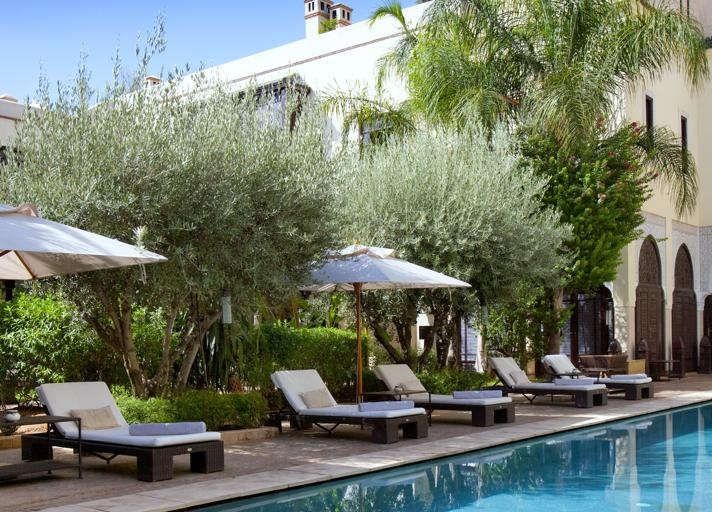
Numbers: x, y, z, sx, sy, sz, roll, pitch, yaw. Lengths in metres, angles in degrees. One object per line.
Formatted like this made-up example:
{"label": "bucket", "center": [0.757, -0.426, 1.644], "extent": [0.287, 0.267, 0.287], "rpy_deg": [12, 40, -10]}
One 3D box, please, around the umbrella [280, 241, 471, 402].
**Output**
{"label": "umbrella", "center": [0.078, 1.270, 13.870], "extent": [3.061, 2.256, 2.952], "rpy_deg": [1, -5, -32]}

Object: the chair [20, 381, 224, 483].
{"label": "chair", "center": [-3.085, 2.337, 9.642], "extent": [2.325, 1.252, 1.330], "rpy_deg": [-4, -7, 30]}
